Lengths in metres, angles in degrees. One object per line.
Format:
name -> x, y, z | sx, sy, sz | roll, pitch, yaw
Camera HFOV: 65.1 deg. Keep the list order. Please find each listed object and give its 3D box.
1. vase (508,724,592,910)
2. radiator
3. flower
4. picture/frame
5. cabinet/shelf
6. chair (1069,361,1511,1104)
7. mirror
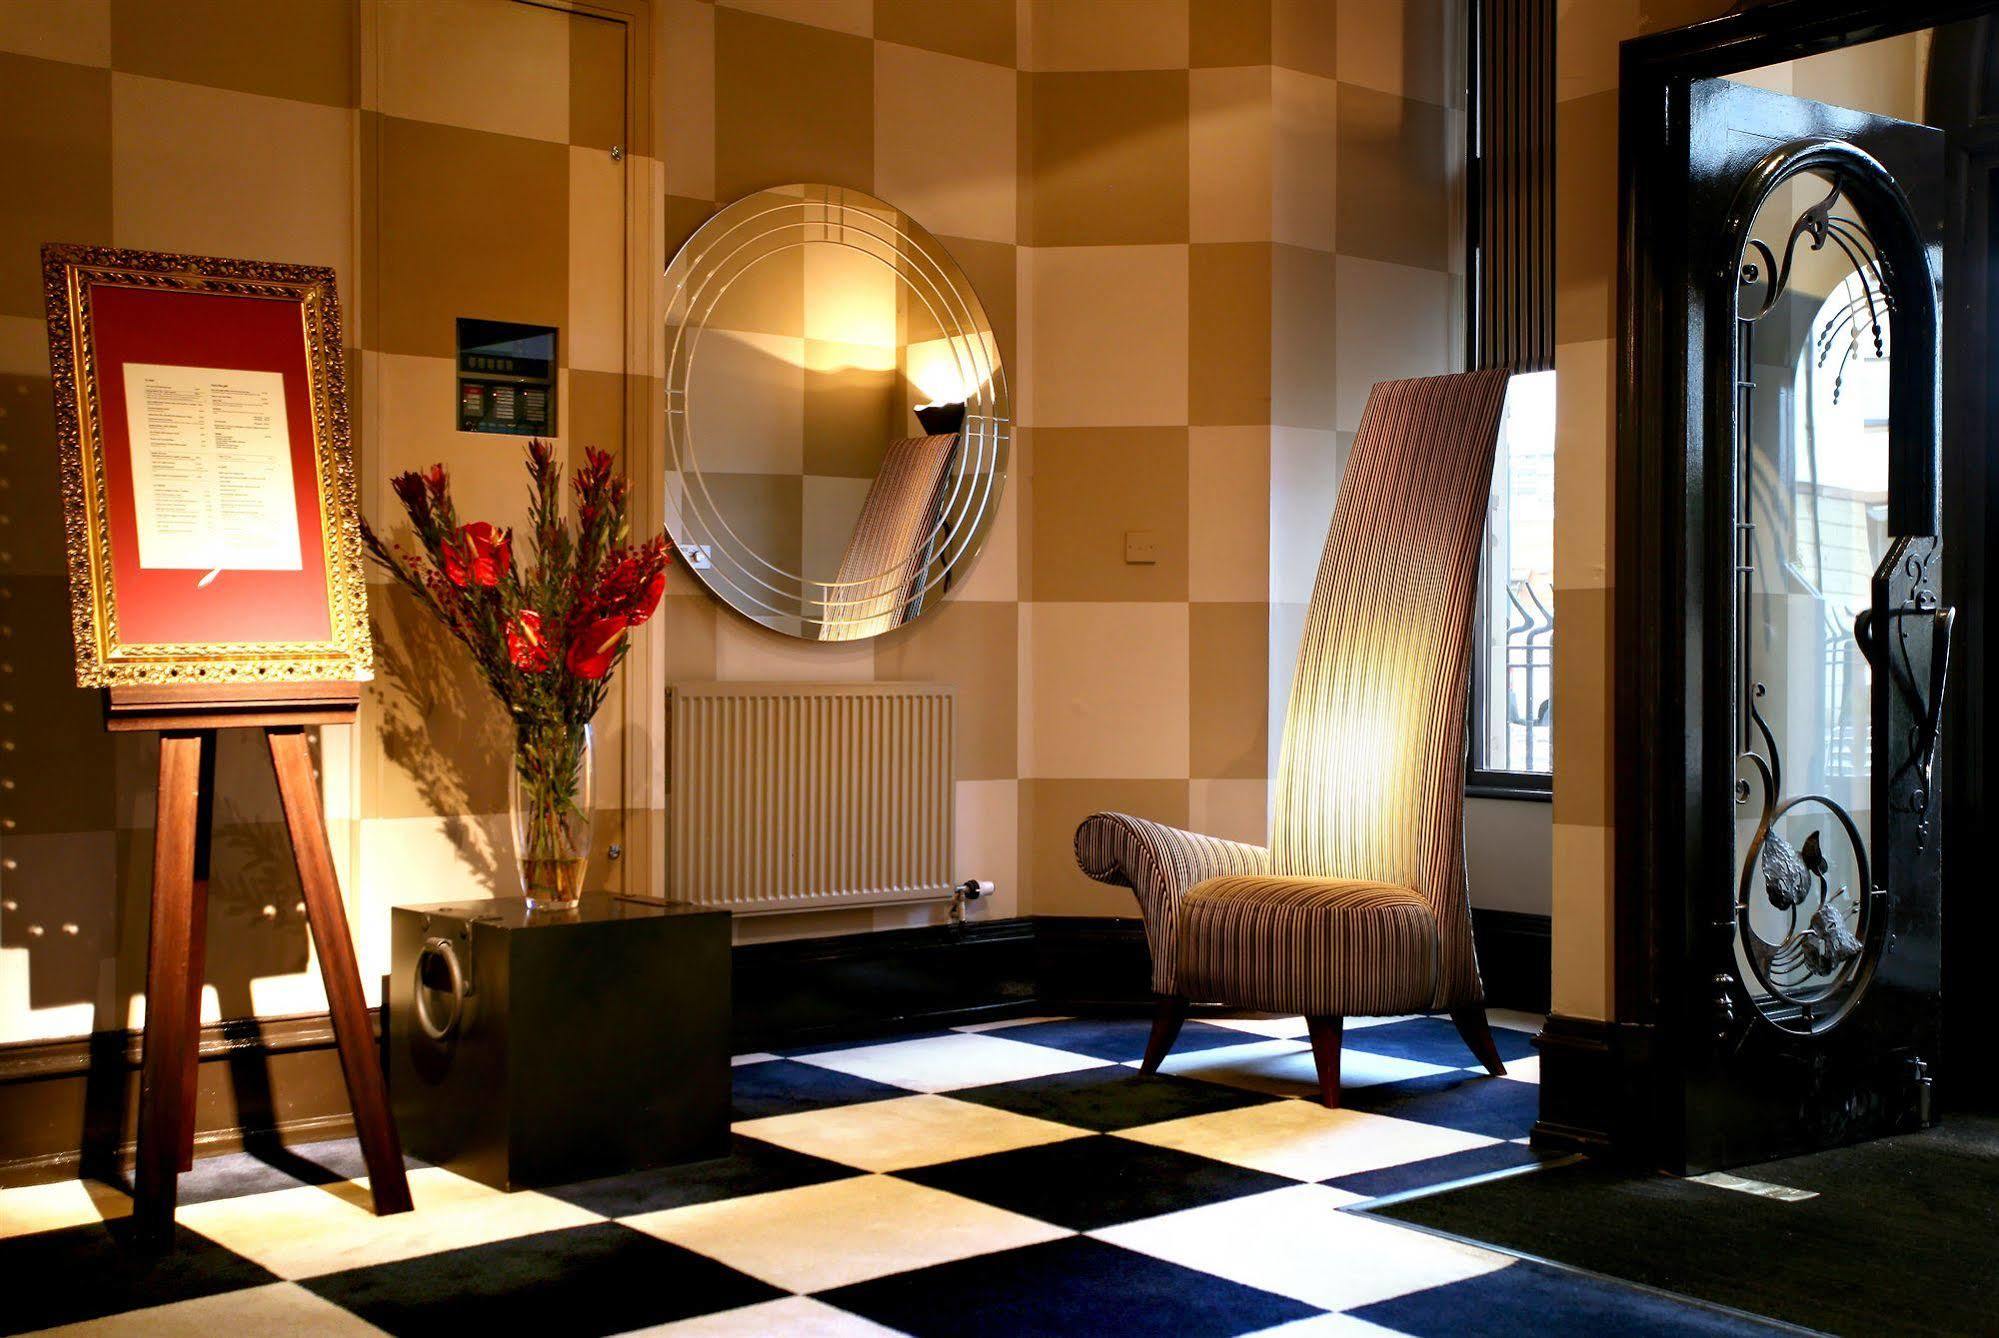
vase -> -1.224, 0.405, 4.309 | 0.194, 0.467, 0.228 | -2, 0, -19
radiator -> -0.657, 0.485, 5.603 | 0.841, 0.694, 0.120 | 0, 2, -30
flower -> -1.373, -0.011, 4.408 | 0.732, 1.201, 0.685 | -2, 0, -32
picture/frame -> -1.974, -0.509, 3.914 | 0.653, 1.006, 0.297 | -2, 0, -33
cabinet/shelf -> -1.232, 0.966, 4.404 | 0.723, 0.695, 0.705 | 2, -2, -32
chair -> 1.087, 0.173, 5.096 | 1.232, 2.427, 0.694 | -2, 0, -20
mirror -> -0.640, -0.949, 5.683 | 1.623, 2.052, 0.078 | 0, -2, -35
